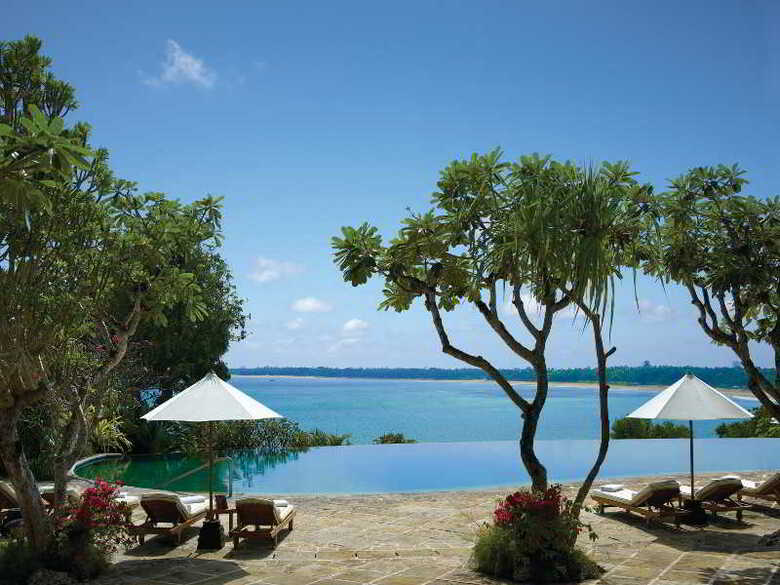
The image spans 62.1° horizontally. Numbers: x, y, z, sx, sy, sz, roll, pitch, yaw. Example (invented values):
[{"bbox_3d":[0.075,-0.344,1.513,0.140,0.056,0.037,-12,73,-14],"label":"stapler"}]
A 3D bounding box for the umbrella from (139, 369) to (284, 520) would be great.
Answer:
[{"bbox_3d":[-3.661,3.241,15.148,2.919,3.308,3.204,-2,-8,9],"label":"umbrella"}]

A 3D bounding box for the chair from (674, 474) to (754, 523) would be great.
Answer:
[{"bbox_3d":[7.909,5.111,15.982,0.939,1.187,1.906,1,-9,-4],"label":"chair"}]

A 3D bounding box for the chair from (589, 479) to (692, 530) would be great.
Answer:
[{"bbox_3d":[5.917,4.904,15.508,1.013,0.913,1.929,8,-8,-27],"label":"chair"}]

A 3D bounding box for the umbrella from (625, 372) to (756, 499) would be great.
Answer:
[{"bbox_3d":[7.565,3.749,16.179,2.609,2.867,3.017,-2,-3,7],"label":"umbrella"}]

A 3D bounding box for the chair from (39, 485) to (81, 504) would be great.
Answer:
[{"bbox_3d":[-7.176,4.419,14.037,0.685,0.460,2.109,5,-13,-30],"label":"chair"}]

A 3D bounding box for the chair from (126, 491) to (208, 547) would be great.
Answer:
[{"bbox_3d":[-4.812,4.879,14.008,0.736,0.927,2.265,0,-10,0],"label":"chair"}]

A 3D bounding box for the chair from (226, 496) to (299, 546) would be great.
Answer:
[{"bbox_3d":[-2.761,4.920,13.946,0.646,0.743,1.818,0,-13,0],"label":"chair"}]
